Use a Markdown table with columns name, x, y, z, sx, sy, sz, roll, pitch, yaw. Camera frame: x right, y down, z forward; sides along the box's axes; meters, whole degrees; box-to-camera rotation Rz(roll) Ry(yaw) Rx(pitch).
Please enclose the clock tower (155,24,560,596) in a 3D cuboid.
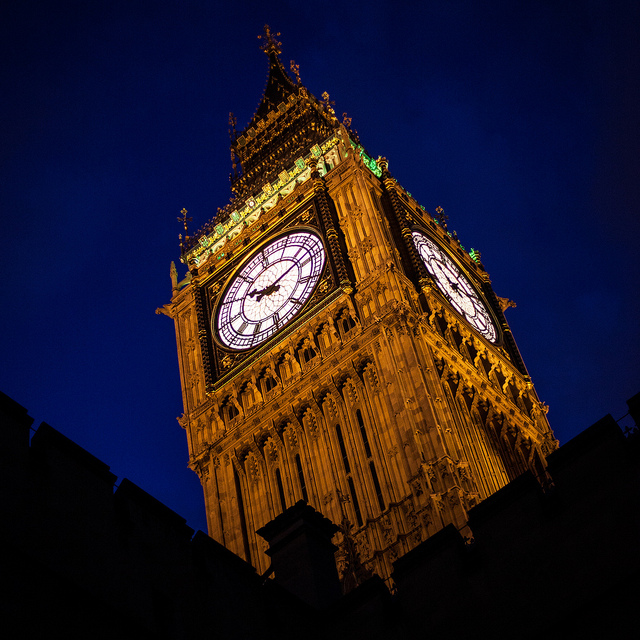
| name | x | y | z | sx | sy | sz | roll | pitch | yaw |
| --- | --- | --- | --- | --- | --- | --- | --- | --- | --- |
| clock tower | 0.590 | -0.799 | 49.214 | 10.738 | 31.210 | 10.575 | -39 | -49 | 25 |
